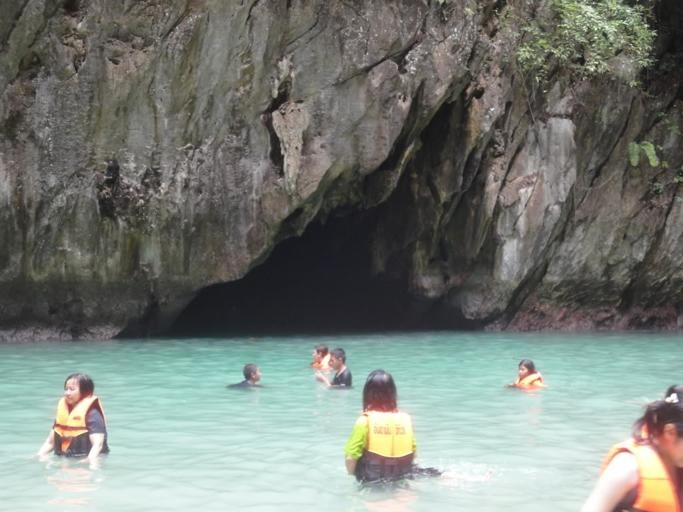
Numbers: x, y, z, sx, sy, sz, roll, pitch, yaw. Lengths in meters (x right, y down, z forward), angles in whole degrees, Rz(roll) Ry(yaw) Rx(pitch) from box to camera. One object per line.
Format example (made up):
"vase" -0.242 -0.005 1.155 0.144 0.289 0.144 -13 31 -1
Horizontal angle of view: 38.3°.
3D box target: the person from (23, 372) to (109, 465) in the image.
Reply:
"person" -4.032 2.496 14.840 0.905 1.460 0.917 5 8 22

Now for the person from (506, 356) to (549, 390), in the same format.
"person" 3.499 2.254 18.709 0.502 0.457 0.718 3 5 28

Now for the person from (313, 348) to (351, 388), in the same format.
"person" -0.145 2.031 18.373 0.355 0.798 0.750 -6 11 -43
